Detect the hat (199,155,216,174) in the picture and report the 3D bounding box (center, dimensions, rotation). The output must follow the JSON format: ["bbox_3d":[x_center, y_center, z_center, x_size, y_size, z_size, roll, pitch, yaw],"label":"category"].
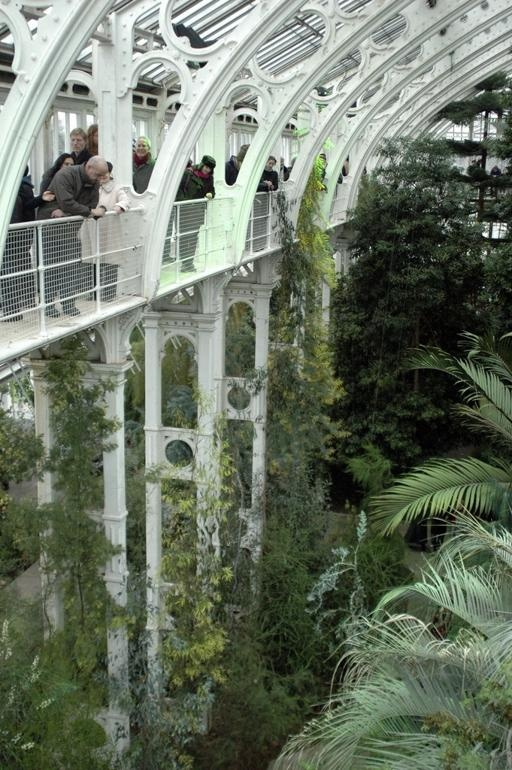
[{"bbox_3d":[-0.574,-2.713,8.293,0.185,0.203,0.217,0,37,-29],"label":"hat"}]

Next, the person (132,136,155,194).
[{"bbox_3d":[-1.229,-2.374,7.313,0.228,0.697,0.749,-1,5,-9],"label":"person"}]
